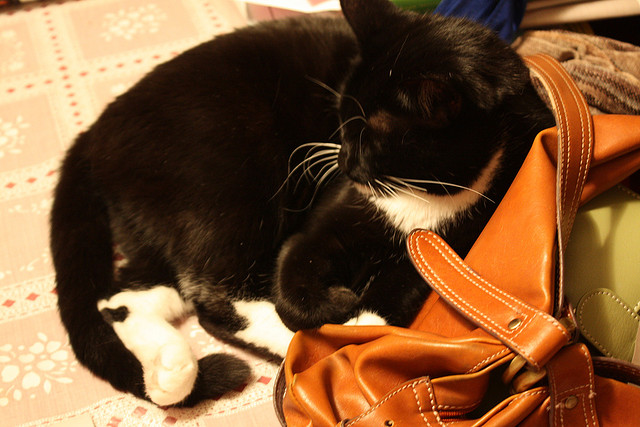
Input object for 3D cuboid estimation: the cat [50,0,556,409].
[{"bbox_3d":[-0.029,0.061,1.443,0.996,0.400,0.738,-32,46,-8],"label":"cat"}]
